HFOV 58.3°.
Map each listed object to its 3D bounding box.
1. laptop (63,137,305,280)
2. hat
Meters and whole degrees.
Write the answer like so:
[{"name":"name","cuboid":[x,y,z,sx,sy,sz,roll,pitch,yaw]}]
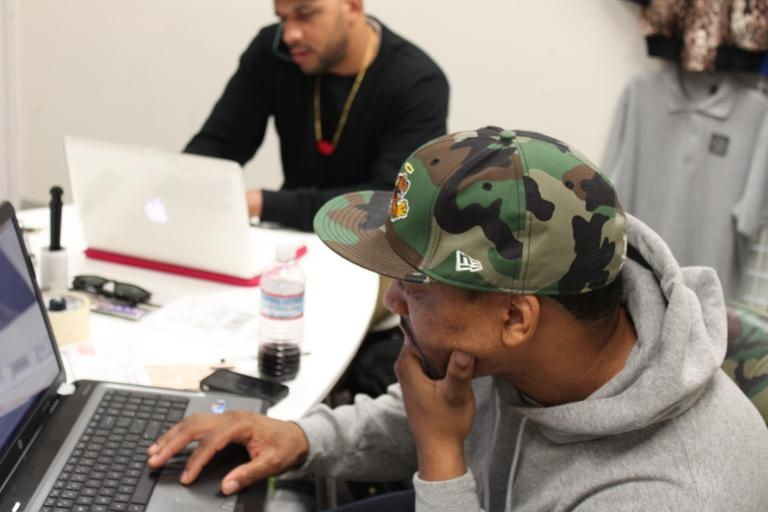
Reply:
[{"name":"laptop","cuboid":[-0.658,-0.145,2.158,0.552,0.374,0.447,8,19,20]},{"name":"hat","cuboid":[0.178,-0.129,1.481,0.652,0.275,0.433,3,19,9]}]
